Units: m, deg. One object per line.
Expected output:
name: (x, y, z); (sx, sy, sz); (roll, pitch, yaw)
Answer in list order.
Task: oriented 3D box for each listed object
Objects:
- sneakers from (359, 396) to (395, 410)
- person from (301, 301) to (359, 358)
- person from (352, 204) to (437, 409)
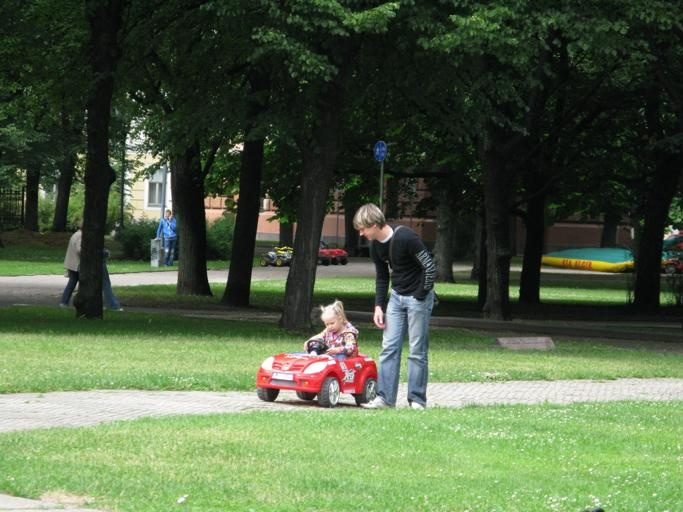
sneakers: (0.506, 2.108, 16.993); (0.459, 0.214, 0.188); (3, -4, -1)
person: (-0.156, 1.090, 17.915); (0.760, 1.099, 0.805); (1, 6, 40)
person: (0.797, 0.718, 16.986); (1.136, 2.863, 0.791); (2, 0, -1)
